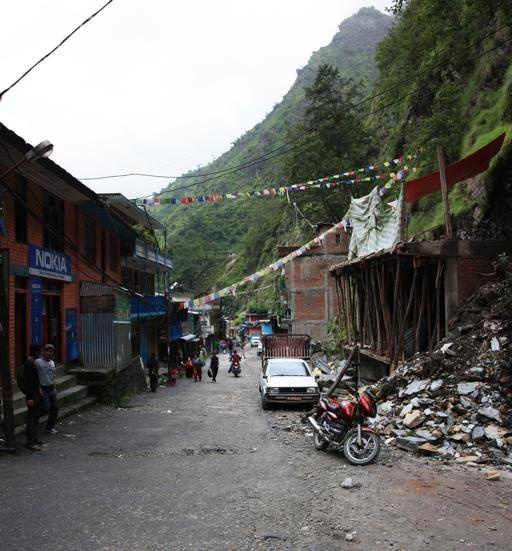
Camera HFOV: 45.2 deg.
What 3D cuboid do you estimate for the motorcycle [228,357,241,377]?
[{"bbox_3d":[-1.068,4.744,31.866,0.505,0.752,1.270,1,-3,-1],"label":"motorcycle"}]

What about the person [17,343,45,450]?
[{"bbox_3d":[-3.730,2.004,10.284,0.360,1.666,0.887,0,-2,-19],"label":"person"}]

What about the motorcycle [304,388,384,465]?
[{"bbox_3d":[1.409,2.396,10.029,0.593,1.168,1.844,18,-11,-22],"label":"motorcycle"}]

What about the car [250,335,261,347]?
[{"bbox_3d":[-0.034,7.597,72.113,1.210,1.175,2.828,-1,-9,-3],"label":"car"}]

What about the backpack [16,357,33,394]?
[{"bbox_3d":[-3.775,1.659,10.208,0.281,0.684,0.495,0,16,-20],"label":"backpack"}]

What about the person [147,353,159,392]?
[{"bbox_3d":[-3.617,3.469,21.773,0.358,1.252,1.581,0,-2,-12],"label":"person"}]

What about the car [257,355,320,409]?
[{"bbox_3d":[0.881,2.959,16.631,1.447,1.125,2.022,0,-3,-1],"label":"car"}]
